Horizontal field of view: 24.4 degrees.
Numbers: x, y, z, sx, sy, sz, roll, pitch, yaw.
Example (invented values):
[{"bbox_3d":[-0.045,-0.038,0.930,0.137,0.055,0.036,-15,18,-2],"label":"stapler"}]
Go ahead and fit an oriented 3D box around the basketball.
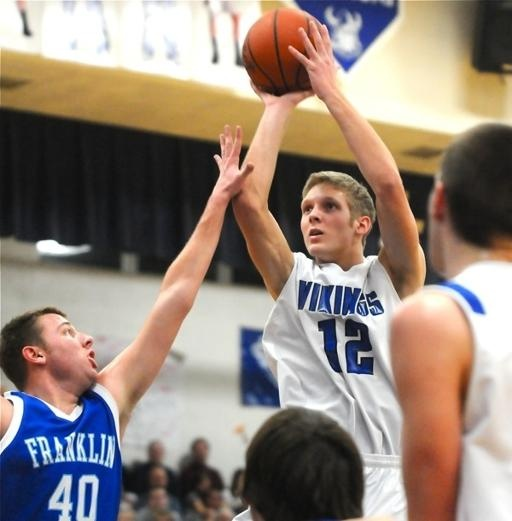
[{"bbox_3d":[0.119,-0.708,4.120,0.241,0.341,0.265,5,-7,6],"label":"basketball"}]
